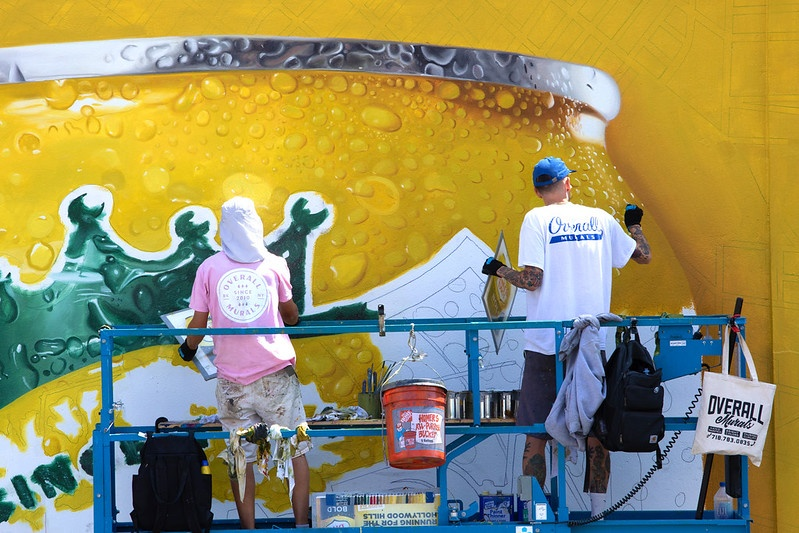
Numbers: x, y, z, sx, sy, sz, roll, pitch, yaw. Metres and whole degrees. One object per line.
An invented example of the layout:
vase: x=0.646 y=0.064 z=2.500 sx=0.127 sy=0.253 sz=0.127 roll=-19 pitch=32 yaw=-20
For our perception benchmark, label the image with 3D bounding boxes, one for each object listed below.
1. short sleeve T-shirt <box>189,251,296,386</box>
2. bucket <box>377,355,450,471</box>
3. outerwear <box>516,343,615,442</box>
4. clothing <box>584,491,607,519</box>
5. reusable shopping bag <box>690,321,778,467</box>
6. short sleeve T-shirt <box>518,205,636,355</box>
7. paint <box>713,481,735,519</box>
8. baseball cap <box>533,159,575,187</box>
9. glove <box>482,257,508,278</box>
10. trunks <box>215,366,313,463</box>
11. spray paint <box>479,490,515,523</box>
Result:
short sleeve T-shirt: x=-1.280 y=0.433 z=9.769 sx=1.108 sy=1.295 sz=0.668 roll=-2 pitch=-6 yaw=-11
bucket: x=0.114 y=1.264 z=9.523 sx=0.594 sy=0.635 sz=0.598 roll=-1 pitch=-20 yaw=-1
outerwear: x=1.341 y=1.045 z=9.961 sx=0.519 sy=0.705 sz=0.407 roll=8 pitch=11 yaw=-4
clothing: x=1.593 y=1.942 z=9.758 sx=0.163 sy=0.248 sz=0.164 roll=0 pitch=-8 yaw=20
reusable shopping bag: x=2.668 y=1.064 z=9.586 sx=0.613 sy=1.069 sz=0.340 roll=1 pitch=7 yaw=16
short sleeve T-shirt: x=1.433 y=0.121 z=9.874 sx=1.327 sy=1.377 sz=0.749 roll=1 pitch=1 yaw=-6
paint: x=2.634 y=1.927 z=9.775 sx=0.224 sy=0.293 sz=0.228 roll=-3 pitch=-4 yaw=38
baseball cap: x=1.275 y=-0.800 z=10.025 sx=0.200 sy=0.163 sz=0.301 roll=4 pitch=18 yaw=42
glove: x=0.778 y=-0.051 z=9.927 sx=0.153 sy=0.176 sz=0.251 roll=0 pitch=19 yaw=-15
trunks: x=-1.161 y=1.213 z=9.890 sx=0.805 sy=0.778 sz=0.454 roll=-5 pitch=8 yaw=2
spray paint: x=0.800 y=1.970 z=9.868 sx=0.340 sy=0.323 sz=0.193 roll=1 pitch=-3 yaw=4
